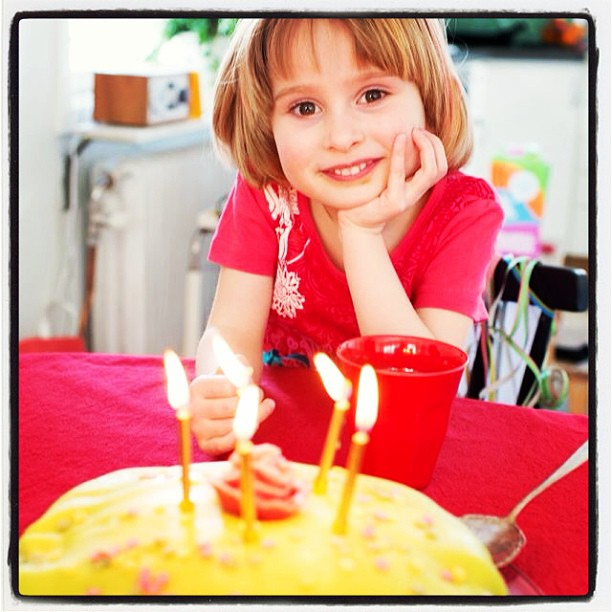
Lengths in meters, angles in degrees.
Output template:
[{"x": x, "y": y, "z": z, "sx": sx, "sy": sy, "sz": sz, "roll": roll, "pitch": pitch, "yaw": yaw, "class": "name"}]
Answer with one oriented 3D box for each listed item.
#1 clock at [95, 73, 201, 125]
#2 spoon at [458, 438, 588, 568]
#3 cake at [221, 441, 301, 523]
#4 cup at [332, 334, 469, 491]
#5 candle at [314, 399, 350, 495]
[{"x": -0.349, "y": -0.491, "z": 1.457, "sx": 0.099, "sy": 0.126, "sz": 0.351, "roll": 6, "pitch": 22, "yaw": 9, "class": "clock"}, {"x": 0.170, "y": 0.119, "z": 0.459, "sx": 0.039, "sy": 0.019, "sz": 0.195, "roll": 21, "pitch": 21, "yaw": 31, "class": "spoon"}, {"x": -0.030, "y": 0.091, "z": 0.371, "sx": 0.038, "sy": 0.025, "sz": 0.057, "roll": 3, "pitch": 12, "yaw": -7, "class": "cake"}, {"x": 0.069, "y": 0.075, "z": 0.426, "sx": 0.070, "sy": 0.090, "sz": 0.076, "roll": 12, "pitch": -5, "yaw": 1, "class": "cup"}, {"x": 0.011, "y": 0.081, "z": 0.365, "sx": 0.007, "sy": 0.073, "sz": 0.007, "roll": -2, "pitch": 34, "yaw": -38, "class": "candle"}]
